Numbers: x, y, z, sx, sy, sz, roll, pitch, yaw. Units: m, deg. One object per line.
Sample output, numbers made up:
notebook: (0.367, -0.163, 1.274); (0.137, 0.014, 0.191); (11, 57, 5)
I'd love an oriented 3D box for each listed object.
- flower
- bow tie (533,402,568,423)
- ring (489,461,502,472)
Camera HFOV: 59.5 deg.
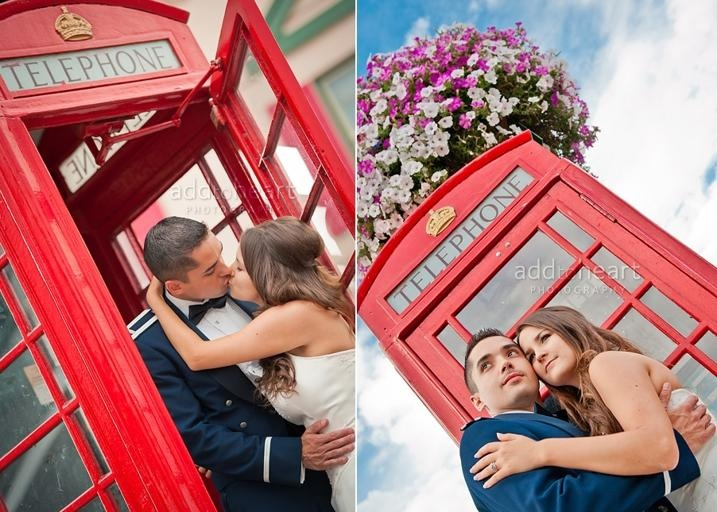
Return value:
flower: (0.507, -0.418, 2.476); (0.628, 0.933, 0.853); (28, -39, -37)
bow tie: (0.602, 0.486, 1.968); (0.082, 0.062, 0.052); (30, -18, 8)
ring: (0.405, 0.618, 1.843); (0.019, 0.029, 0.008); (-16, -20, 21)
